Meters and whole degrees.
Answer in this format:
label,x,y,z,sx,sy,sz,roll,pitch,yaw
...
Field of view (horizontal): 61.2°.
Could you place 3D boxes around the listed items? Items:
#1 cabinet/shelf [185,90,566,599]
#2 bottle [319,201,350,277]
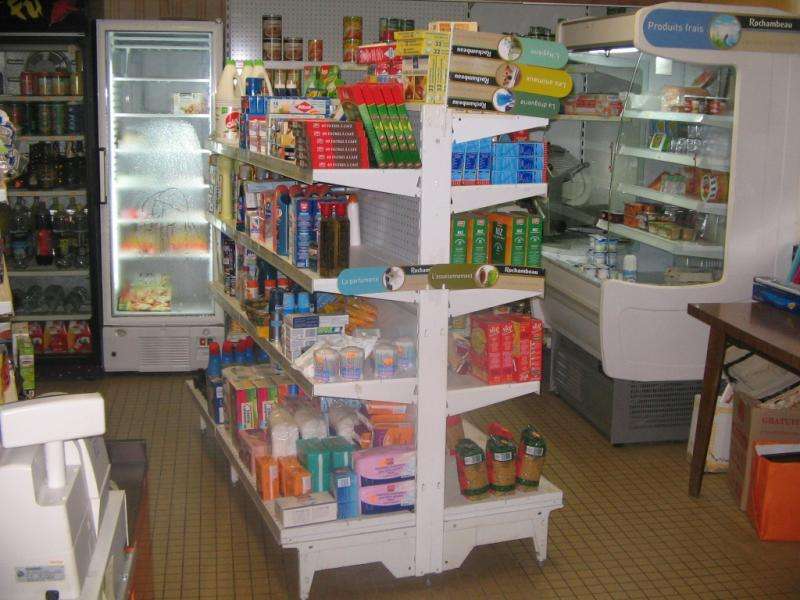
label,x,y,z,sx,sy,sz,roll,pitch,yaw
cabinet/shelf,-0.153,0.254,3.331,1.164,1.848,2.463,0,11,-18
bottle,-0.309,-0.281,3.024,0.145,0.264,0.362,-6,18,-7
